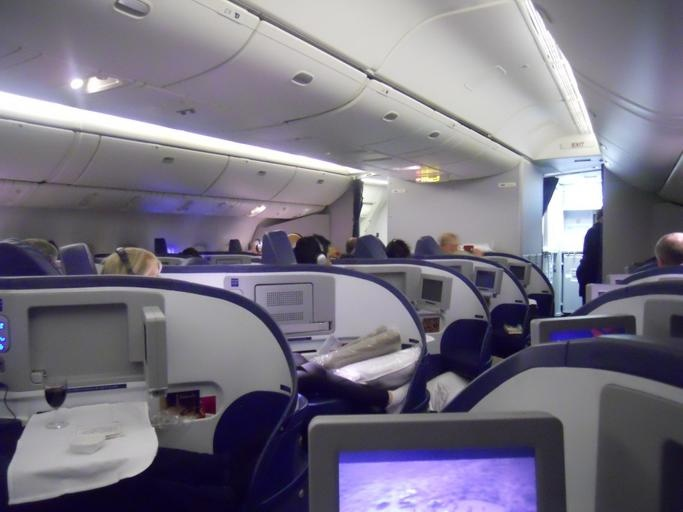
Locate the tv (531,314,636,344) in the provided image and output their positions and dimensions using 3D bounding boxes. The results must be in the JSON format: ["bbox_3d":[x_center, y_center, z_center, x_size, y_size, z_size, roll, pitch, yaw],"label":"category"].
[{"bbox_3d":[0.810,0.244,1.669,0.324,0.096,0.086,-1,-1,8],"label":"tv"}]

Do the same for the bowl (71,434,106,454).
[{"bbox_3d":[-0.877,0.647,1.708,0.102,0.044,0.098,-1,-1,0],"label":"bowl"}]

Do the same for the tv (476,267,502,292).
[{"bbox_3d":[1.549,0.239,5.166,0.120,0.226,0.219,-2,8,-37],"label":"tv"}]

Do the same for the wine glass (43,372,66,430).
[{"bbox_3d":[-1.071,0.544,1.853,0.073,0.166,0.156,0,-1,-30],"label":"wine glass"}]
